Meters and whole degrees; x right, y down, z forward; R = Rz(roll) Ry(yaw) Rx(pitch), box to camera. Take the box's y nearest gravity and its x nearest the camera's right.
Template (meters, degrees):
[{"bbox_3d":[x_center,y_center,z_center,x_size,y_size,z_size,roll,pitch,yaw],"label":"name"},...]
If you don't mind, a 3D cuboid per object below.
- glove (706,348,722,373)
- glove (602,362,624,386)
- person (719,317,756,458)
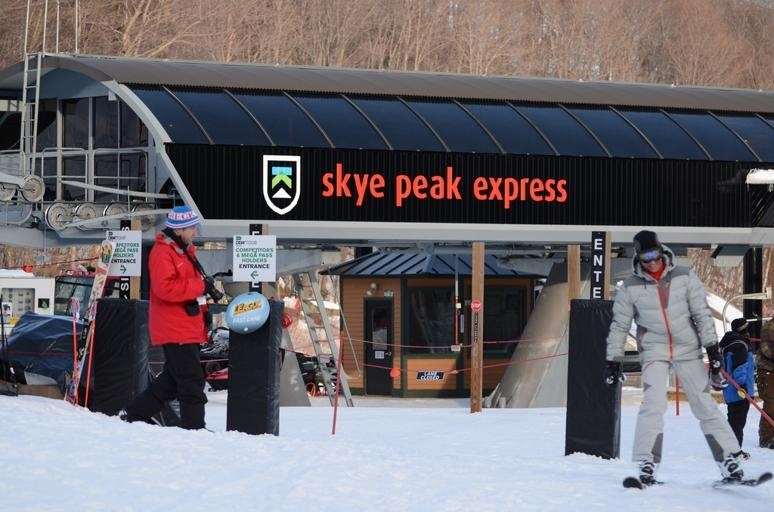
[{"bbox_3d":[6.447,2.085,27.897,0.255,0.542,0.200,0,-3,13],"label":"glove"},{"bbox_3d":[4.541,2.364,28.355,0.353,0.452,0.474,0,-5,7],"label":"glove"},{"bbox_3d":[7.753,2.802,30.658,1.010,3.106,0.913,-1,-2,1],"label":"person"}]
